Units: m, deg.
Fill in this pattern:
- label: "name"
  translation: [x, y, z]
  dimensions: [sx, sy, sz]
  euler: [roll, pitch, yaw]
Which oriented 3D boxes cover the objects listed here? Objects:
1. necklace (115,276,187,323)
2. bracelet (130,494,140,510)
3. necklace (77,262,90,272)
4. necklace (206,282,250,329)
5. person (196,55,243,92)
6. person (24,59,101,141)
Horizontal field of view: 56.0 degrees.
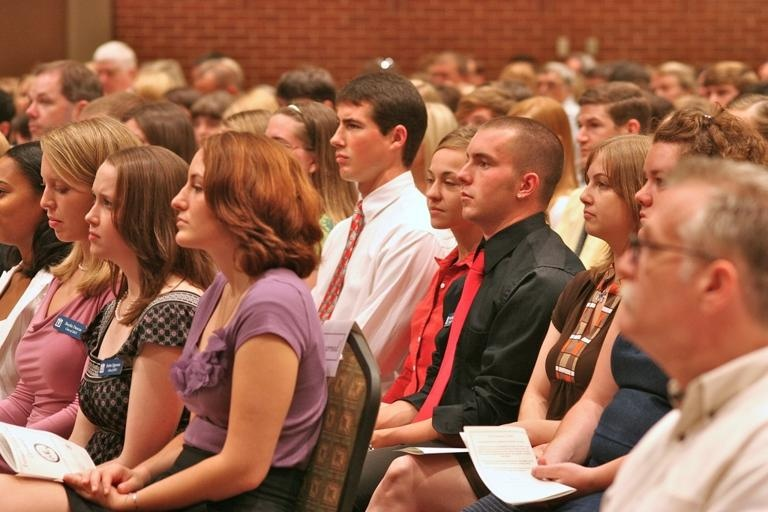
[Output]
- label: "necklace"
  translation: [-0.960, 0.162, 2.904]
  dimensions: [0.252, 0.114, 0.192]
  euler: [-29, -27, 8]
- label: "bracelet"
  translation: [-0.804, 0.789, 2.323]
  dimensions: [0.015, 0.042, 0.031]
  euler: [8, 11, 10]
- label: "necklace"
  translation: [-1.436, 0.053, 3.443]
  dimensions: [0.054, 0.017, 0.055]
  euler: [-3, 52, 1]
- label: "necklace"
  translation: [-0.546, 0.176, 2.511]
  dimensions: [0.049, 0.201, 0.117]
  euler: [26, -5, -27]
- label: "person"
  translation: [-2.008, -2.222, 8.779]
  dimensions: [0.557, 0.475, 1.426]
  euler: [7, 9, -16]
- label: "person"
  translation: [-2.711, -1.248, 6.124]
  dimensions: [0.494, 0.759, 0.549]
  euler: [2, 9, 19]
